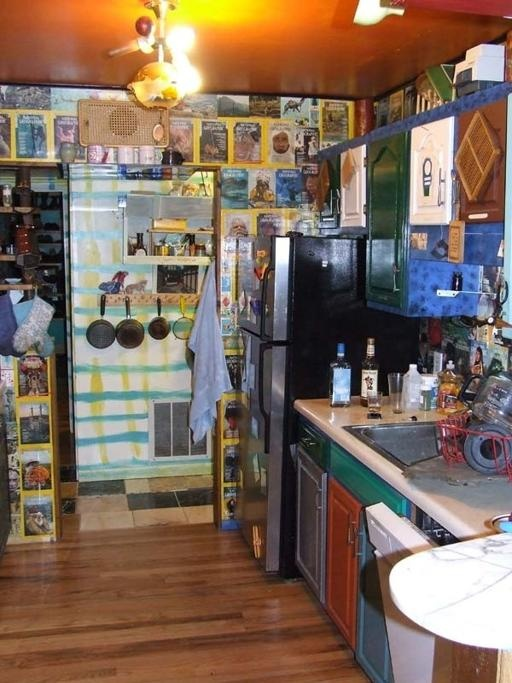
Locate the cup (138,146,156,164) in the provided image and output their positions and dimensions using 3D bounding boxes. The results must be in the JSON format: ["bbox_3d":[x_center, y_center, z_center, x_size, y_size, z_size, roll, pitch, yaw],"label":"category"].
[{"bbox_3d":[-0.653,-1.108,3.552,0.104,0.113,0.103,0,14,0],"label":"cup"}]

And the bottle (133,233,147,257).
[{"bbox_3d":[-0.802,-0.673,4.144,0.087,0.155,0.062,0,6,-10],"label":"bottle"}]

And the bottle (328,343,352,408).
[{"bbox_3d":[0.381,0.148,2.707,0.091,0.276,0.156,2,6,7],"label":"bottle"}]

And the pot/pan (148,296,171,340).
[{"bbox_3d":[-0.688,-0.156,4.192,0.155,0.281,0.078,-2,9,-3],"label":"pot/pan"}]

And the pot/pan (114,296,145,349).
[{"bbox_3d":[-0.881,-0.125,4.164,0.220,0.372,0.062,-6,31,-15],"label":"pot/pan"}]

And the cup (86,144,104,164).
[{"bbox_3d":[-0.930,-1.113,3.527,0.100,0.110,0.100,4,26,-2],"label":"cup"}]

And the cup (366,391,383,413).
[{"bbox_3d":[0.497,0.260,2.552,0.085,0.102,0.078,0,0,0],"label":"cup"}]

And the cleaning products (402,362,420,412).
[{"bbox_3d":[0.715,0.201,2.643,0.100,0.227,0.098,3,-2,20],"label":"cleaning products"}]

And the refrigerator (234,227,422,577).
[{"bbox_3d":[0.115,0.079,4.285,1.502,2.984,1.375,0,7,-8],"label":"refrigerator"}]

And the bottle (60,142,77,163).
[{"bbox_3d":[-1.091,-1.096,3.470,0.098,0.121,0.092,1,6,0],"label":"bottle"}]

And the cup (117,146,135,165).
[{"bbox_3d":[-0.763,-1.086,3.495,0.102,0.110,0.102,2,11,0],"label":"cup"}]
